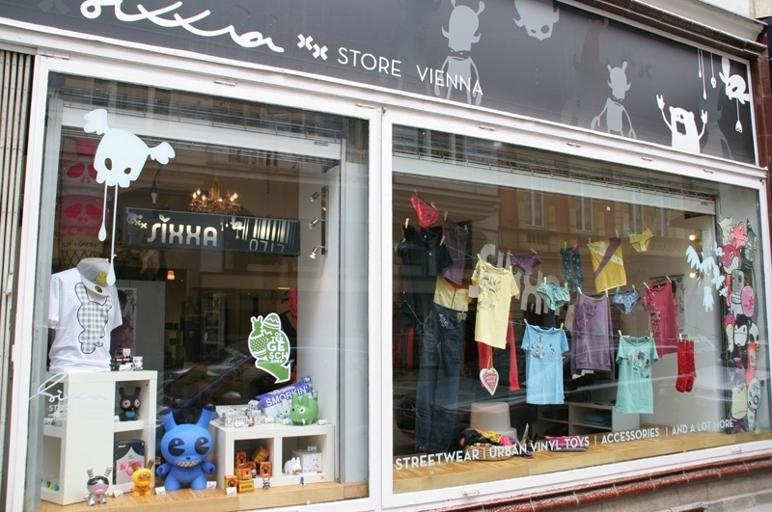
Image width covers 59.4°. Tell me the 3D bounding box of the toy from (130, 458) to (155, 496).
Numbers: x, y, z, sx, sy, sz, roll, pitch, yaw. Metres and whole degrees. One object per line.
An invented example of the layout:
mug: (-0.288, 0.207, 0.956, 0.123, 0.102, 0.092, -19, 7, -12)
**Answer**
toy: (-1.732, 1.564, 4.777, 0.148, 0.238, 0.119, 7, -12, -37)

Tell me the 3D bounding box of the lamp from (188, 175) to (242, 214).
lamp: (-1.279, -0.450, 5.020, 0.259, 0.257, 0.264, 1, -1, 27)

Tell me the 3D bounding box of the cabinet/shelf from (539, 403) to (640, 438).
cabinet/shelf: (1.897, 1.478, 6.213, 1.080, 0.285, 0.124, 3, -10, -27)

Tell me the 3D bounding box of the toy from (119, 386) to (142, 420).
toy: (-1.827, 1.056, 4.801, 0.157, 0.227, 0.207, 8, -17, -32)

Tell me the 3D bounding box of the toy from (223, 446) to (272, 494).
toy: (-1.012, 1.547, 5.066, 0.446, 0.392, 0.242, 5, -17, -28)

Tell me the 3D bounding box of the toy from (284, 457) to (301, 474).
toy: (-0.707, 1.575, 5.081, 0.116, 0.107, 0.091, -7, -12, 29)

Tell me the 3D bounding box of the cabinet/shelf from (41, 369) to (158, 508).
cabinet/shelf: (-2.019, 1.279, 4.667, 0.856, 1.006, 0.465, 6, -10, -43)

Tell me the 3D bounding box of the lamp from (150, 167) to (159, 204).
lamp: (-1.673, -0.501, 4.876, 0.063, 0.248, 0.056, 5, -11, -33)

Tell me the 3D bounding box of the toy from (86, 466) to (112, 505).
toy: (-1.983, 1.572, 4.634, 0.199, 0.302, 0.156, 6, -18, -34)

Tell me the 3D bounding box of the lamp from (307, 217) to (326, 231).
lamp: (-0.547, -0.262, 5.283, 0.135, 0.104, 0.026, 0, -9, -8)

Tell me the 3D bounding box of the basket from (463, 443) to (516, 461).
basket: (0.875, 1.645, 5.701, 0.488, 0.137, 0.046, 3, -10, -24)

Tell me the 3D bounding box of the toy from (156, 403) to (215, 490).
toy: (-1.472, 1.382, 4.944, 0.391, 0.608, 0.303, 1, -1, -20)
